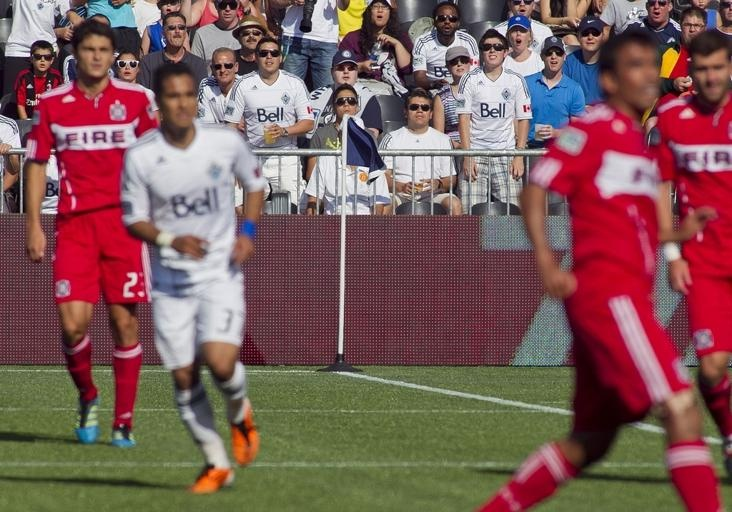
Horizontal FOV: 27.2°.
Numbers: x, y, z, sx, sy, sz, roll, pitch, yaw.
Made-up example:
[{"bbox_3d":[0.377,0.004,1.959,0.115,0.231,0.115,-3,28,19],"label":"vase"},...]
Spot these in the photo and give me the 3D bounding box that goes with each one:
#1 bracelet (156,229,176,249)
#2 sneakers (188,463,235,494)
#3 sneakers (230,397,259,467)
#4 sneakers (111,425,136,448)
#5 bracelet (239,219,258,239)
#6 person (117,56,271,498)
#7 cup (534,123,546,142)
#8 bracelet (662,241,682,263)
[{"bbox_3d":[-1.404,-0.116,10.498,0.095,0.107,0.106,1,4,-7],"label":"bracelet"},{"bbox_3d":[-1.072,1.560,10.611,0.265,0.154,0.161,-4,0,-19],"label":"sneakers"},{"bbox_3d":[-0.888,1.274,10.854,0.158,0.523,0.209,0,13,8],"label":"sneakers"},{"bbox_3d":[-1.908,1.419,11.840,0.180,0.218,0.125,0,-2,-5],"label":"sneakers"},{"bbox_3d":[-0.929,-0.218,11.795,0.140,0.175,0.153,2,12,8],"label":"bracelet"},{"bbox_3d":[-1.222,0.141,10.652,0.961,2.972,0.540,0,5,-5],"label":"person"},{"bbox_3d":[1.956,-1.379,16.744,0.117,0.151,0.148,2,-3,-34],"label":"cup"},{"bbox_3d":[2.226,-0.042,11.016,0.143,0.162,0.037,20,-4,-16],"label":"bracelet"}]
